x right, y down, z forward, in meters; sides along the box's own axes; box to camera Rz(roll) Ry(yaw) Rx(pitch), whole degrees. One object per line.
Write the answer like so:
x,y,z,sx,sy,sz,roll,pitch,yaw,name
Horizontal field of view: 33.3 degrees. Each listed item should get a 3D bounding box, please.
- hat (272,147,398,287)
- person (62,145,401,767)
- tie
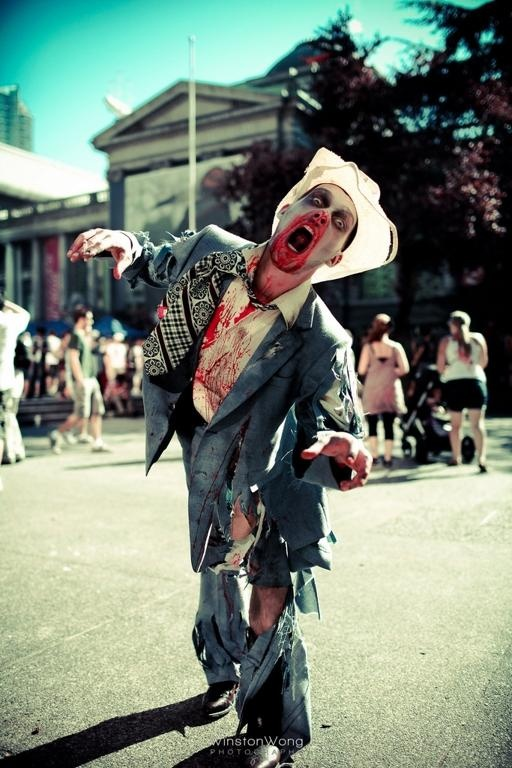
0.304,-0.539,2.875,0.394,0.178,0.483,35,-38,-2,hat
0.021,0.185,2.782,1.023,1.858,0.599,8,10,44,person
-0.183,-0.248,2.727,0.302,0.471,0.128,34,6,-24,tie
